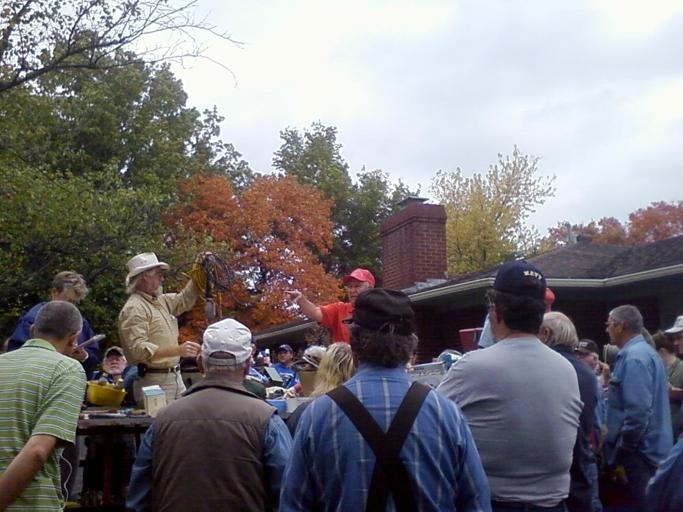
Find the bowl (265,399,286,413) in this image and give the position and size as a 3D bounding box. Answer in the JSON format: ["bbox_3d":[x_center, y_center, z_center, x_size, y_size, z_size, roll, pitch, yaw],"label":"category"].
[{"bbox_3d":[-0.535,1.237,4.993,0.113,0.111,0.226,-3,-13,21],"label":"bowl"}]

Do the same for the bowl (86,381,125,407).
[{"bbox_3d":[-2.101,1.241,5.443,0.336,0.218,0.358,2,-12,0],"label":"bowl"}]

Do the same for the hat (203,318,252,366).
[{"bbox_3d":[-0.685,0.475,3.723,0.325,0.170,0.474,1,18,-1],"label":"hat"}]

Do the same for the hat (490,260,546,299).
[{"bbox_3d":[1.041,0.122,3.590,0.267,0.210,0.362,15,14,11],"label":"hat"}]

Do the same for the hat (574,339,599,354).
[{"bbox_3d":[2.875,1.064,7.176,0.139,0.166,0.460,-8,-16,38],"label":"hat"}]

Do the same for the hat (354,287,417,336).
[{"bbox_3d":[0.173,0.254,3.050,0.268,0.194,0.353,5,0,23],"label":"hat"}]

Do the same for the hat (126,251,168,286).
[{"bbox_3d":[-1.848,0.047,5.812,0.324,0.176,0.298,-5,14,3],"label":"hat"}]

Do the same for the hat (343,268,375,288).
[{"bbox_3d":[0.203,0.216,5.950,0.273,0.146,0.188,28,-19,-28],"label":"hat"}]

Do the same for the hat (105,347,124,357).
[{"bbox_3d":[-3.071,1.288,8.253,0.210,0.135,0.302,7,-13,-22],"label":"hat"}]
